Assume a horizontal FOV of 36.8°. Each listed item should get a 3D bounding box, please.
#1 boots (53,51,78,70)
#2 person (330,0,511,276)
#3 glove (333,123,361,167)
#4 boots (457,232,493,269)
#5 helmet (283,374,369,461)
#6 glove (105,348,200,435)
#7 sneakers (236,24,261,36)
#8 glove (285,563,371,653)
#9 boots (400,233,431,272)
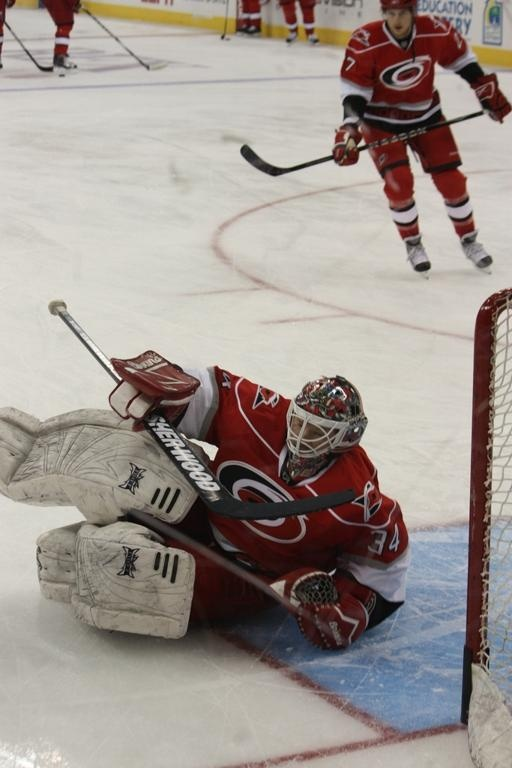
[{"bbox_3d":[-1.841,-3.083,7.420,0.289,0.115,0.185,-1,-4,-30],"label":"boots"},{"bbox_3d":[0.742,-1.099,3.535,0.805,1.168,0.376,1,15,-2],"label":"person"},{"bbox_3d":[0.413,-1.061,3.434,0.145,0.175,0.077,-6,-22,39],"label":"glove"},{"bbox_3d":[1.033,-0.616,3.670,0.213,0.090,0.100,56,13,28],"label":"boots"},{"bbox_3d":[0.122,0.056,1.461,0.133,0.134,0.166,27,40,37],"label":"helmet"},{"bbox_3d":[-0.189,0.032,1.499,0.168,0.070,0.177,11,-2,-3],"label":"glove"},{"bbox_3d":[-0.071,-4.260,9.293,0.317,0.091,0.124,-1,12,0],"label":"sneakers"},{"bbox_3d":[0.136,0.424,1.446,0.192,0.136,0.084,31,41,-5],"label":"glove"},{"bbox_3d":[0.762,-0.607,3.676,0.085,0.193,0.089,-18,-20,7],"label":"boots"}]
